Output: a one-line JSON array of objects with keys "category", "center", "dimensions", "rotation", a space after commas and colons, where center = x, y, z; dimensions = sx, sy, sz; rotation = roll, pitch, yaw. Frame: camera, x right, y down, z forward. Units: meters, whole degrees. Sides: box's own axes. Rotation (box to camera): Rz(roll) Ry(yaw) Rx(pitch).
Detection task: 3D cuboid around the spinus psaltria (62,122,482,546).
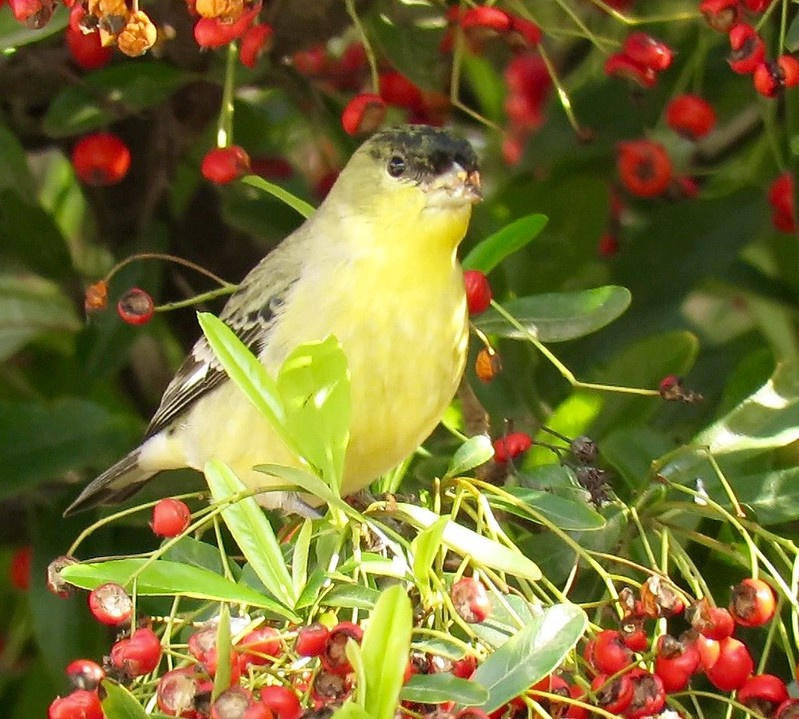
[{"category": "spinus psaltria", "center": [-0.187, 0.038, 2.534], "dimensions": [0.921, 1.003, 0.656], "rotation": [-31, 58, -20]}]
